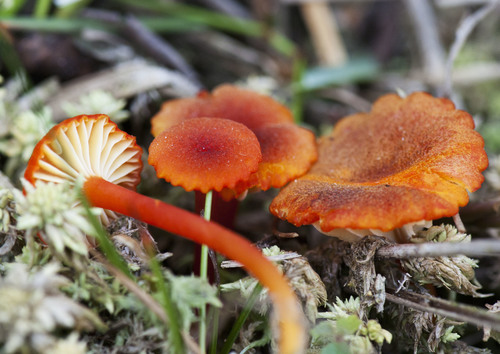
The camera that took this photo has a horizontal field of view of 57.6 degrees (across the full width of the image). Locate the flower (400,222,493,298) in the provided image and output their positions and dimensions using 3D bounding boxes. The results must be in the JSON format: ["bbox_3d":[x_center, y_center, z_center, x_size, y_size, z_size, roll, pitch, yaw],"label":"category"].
[{"bbox_3d":[0.846,0.396,2.112,0.382,0.167,0.318,27,45,29],"label":"flower"}]

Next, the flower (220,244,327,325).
[{"bbox_3d":[0.103,0.434,1.994,0.367,0.166,0.365,19,36,21],"label":"flower"}]
